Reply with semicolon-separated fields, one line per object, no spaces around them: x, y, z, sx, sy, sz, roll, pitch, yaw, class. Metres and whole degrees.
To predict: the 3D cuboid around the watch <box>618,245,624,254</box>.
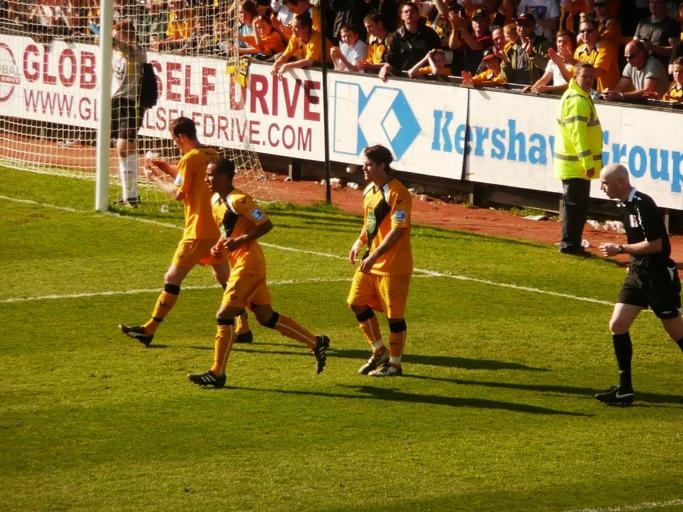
2.613;-0.049;12.650;0.064;0.073;0.025;-4;-3;19;watch

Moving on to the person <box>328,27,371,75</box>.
0.134;-3.169;21.646;0.761;0.906;0.580;-5;13;-25;person

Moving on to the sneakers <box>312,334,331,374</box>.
-0.197;0.955;13.217;0.145;0.371;0.209;12;19;31;sneakers

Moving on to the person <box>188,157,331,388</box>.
-0.843;0.181;12.895;1.112;2.166;0.497;2;6;-1;person

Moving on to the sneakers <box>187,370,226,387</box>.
-1.259;1.184;12.889;0.405;0.174;0.135;7;-8;-3;sneakers

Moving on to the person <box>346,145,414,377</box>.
0.393;0.057;13.189;0.542;2.252;0.603;0;6;-22;person

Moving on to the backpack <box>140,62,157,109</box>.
-2.773;-2.394;19.136;0.374;0.535;0.142;-4;8;-33;backpack

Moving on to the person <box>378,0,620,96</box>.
2.416;-3.035;20.044;2.483;0.768;0.727;10;49;15;person

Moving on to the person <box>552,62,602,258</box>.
2.981;-1.185;17.044;0.589;2.441;0.673;3;6;7;person

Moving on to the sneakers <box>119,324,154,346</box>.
-2.105;0.813;13.863;0.333;0.203;0.282;1;5;-9;sneakers

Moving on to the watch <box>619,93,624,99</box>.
3.856;-2.175;18.553;0.072;0.084;0.053;3;6;5;watch

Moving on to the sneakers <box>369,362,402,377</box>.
0.453;1.125;13.279;0.367;0.130;0.121;1;1;-11;sneakers

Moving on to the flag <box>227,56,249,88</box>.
-1.631;-2.929;21.412;0.546;0.498;0.193;9;1;43;flag

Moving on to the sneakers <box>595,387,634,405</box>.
2.602;1.343;12.867;0.414;0.170;0.141;3;1;9;sneakers

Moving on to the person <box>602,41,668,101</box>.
4.121;-2.547;18.745;0.786;0.851;0.795;4;6;19;person
